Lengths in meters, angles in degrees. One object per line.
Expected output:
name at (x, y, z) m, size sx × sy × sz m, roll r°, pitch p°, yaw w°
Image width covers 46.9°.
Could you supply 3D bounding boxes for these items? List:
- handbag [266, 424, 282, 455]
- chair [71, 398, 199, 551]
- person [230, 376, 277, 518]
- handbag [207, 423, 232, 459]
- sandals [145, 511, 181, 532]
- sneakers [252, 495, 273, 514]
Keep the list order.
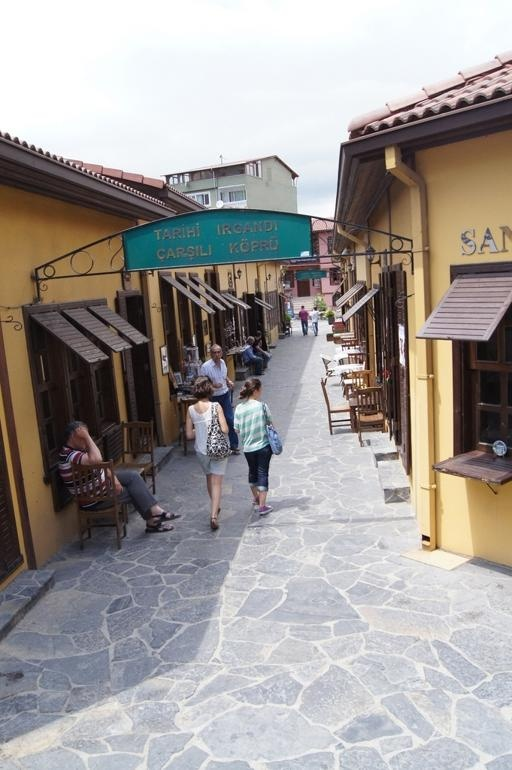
handbag at (0.222, 0.627, 6.701) m, size 0.133 × 0.363 × 0.229 m, roll -3°, pitch 8°, yaw 19°
chair at (-1.447, 1.002, 6.307) m, size 1.068 × 1.324 × 0.549 m, roll -12°, pitch 10°, yaw -42°
person at (-0.008, 0.694, 6.872) m, size 0.403 × 1.546 × 0.522 m, roll -6°, pitch 7°, yaw -2°
handbag at (-0.411, 0.621, 6.527) m, size 0.259 × 0.423 × 0.123 m, roll -12°, pitch 10°, yaw -42°
sandals at (-0.997, 1.512, 6.558) m, size 0.440 × 0.168 × 0.171 m, roll -5°, pitch -2°, yaw 22°
sneakers at (0.067, 1.410, 6.877) m, size 0.101 × 0.123 × 0.296 m, roll 1°, pitch 4°, yaw 11°
